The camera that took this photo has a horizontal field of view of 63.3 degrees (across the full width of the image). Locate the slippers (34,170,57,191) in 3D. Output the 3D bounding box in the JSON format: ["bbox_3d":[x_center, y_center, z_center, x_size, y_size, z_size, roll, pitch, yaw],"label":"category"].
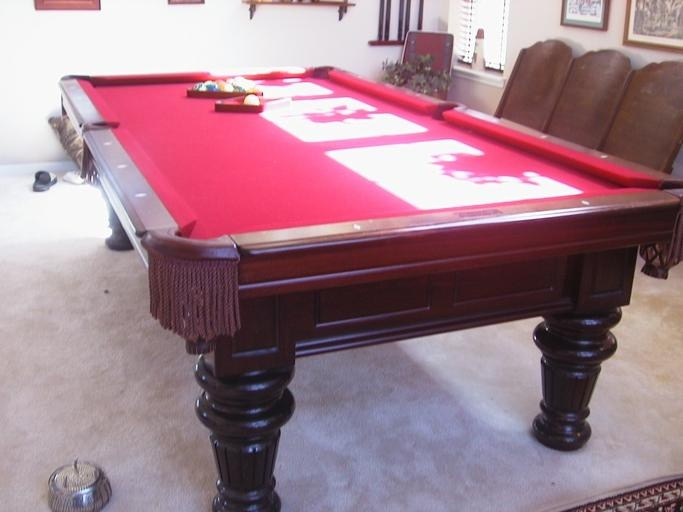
[{"bbox_3d":[-2.572,-0.632,4.765,0.146,0.079,0.235,2,22,-2],"label":"slippers"}]

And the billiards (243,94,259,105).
[{"bbox_3d":[-0.473,-0.819,2.883,0.068,0.056,0.070,3,25,1],"label":"billiards"}]
